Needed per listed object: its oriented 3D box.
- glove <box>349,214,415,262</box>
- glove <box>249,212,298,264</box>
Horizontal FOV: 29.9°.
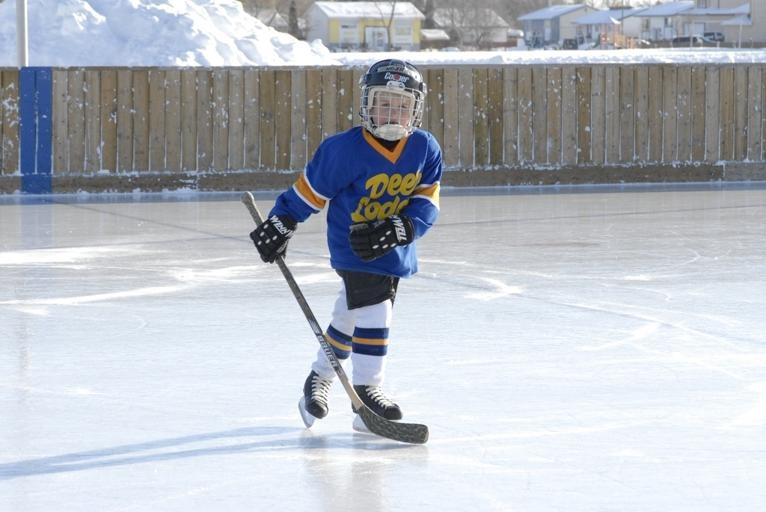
[{"bbox_3d":[-0.014,-0.113,8.786,0.416,0.206,0.138,-12,-12,-13],"label":"glove"},{"bbox_3d":[-0.681,-0.107,8.919,0.280,0.299,0.139,-1,8,-6],"label":"glove"}]
